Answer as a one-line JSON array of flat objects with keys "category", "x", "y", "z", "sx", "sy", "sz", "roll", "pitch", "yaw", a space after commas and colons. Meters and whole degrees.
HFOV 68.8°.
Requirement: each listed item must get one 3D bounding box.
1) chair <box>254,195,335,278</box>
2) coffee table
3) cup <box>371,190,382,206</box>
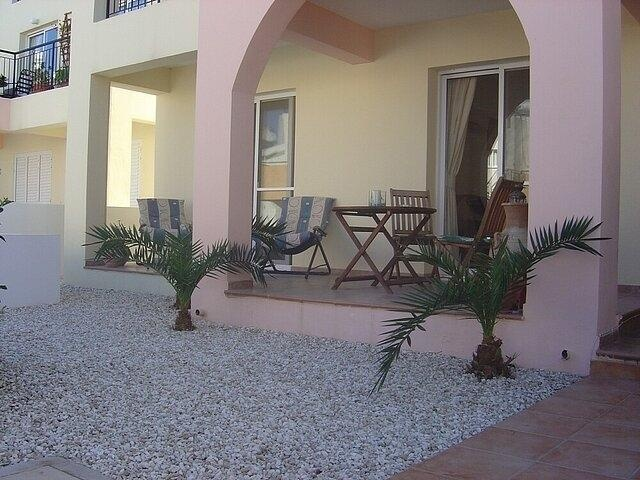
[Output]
[{"category": "chair", "x": -0.275, "y": -0.195, "z": 7.016, "sx": 1.077, "sy": 1.291, "sz": 1.215, "roll": 2, "pitch": -13, "yaw": 13}, {"category": "coffee table", "x": 0.675, "y": 0.056, "z": 5.253, "sx": 1.019, "sy": 0.837, "sz": 1.074, "roll": -1, "pitch": 1, "yaw": 23}, {"category": "cup", "x": 0.637, "y": -0.472, "z": 5.276, "sx": 0.148, "sy": 0.168, "sz": 0.123, "roll": 0, "pitch": 1, "yaw": -2}]
